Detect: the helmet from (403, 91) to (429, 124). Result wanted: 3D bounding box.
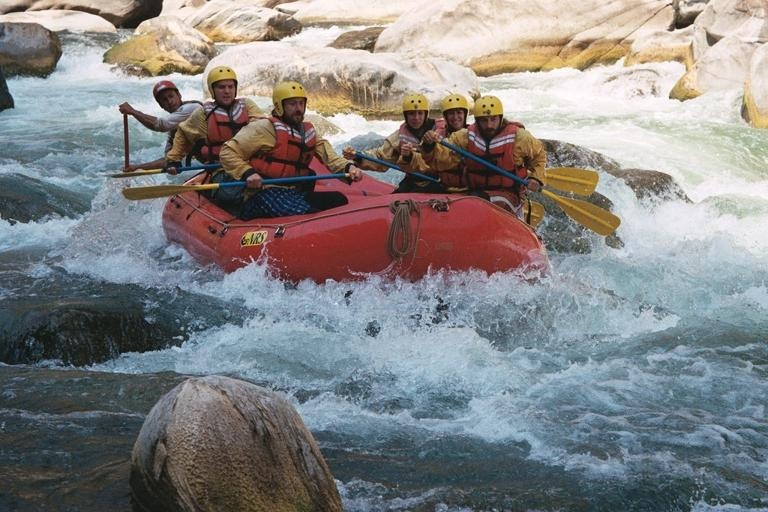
[{"bbox_3d":[0.431,-1.927,10.879,0.275,0.325,0.288,2,51,-6],"label":"helmet"}]

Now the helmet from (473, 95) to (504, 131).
[{"bbox_3d":[1.308,-1.801,10.367,0.400,0.454,0.431,-6,62,4],"label":"helmet"}]

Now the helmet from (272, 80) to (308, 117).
[{"bbox_3d":[-1.222,-1.995,10.571,0.483,0.446,0.510,-6,19,-23],"label":"helmet"}]

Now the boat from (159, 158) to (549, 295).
[{"bbox_3d":[-0.594,-0.271,10.396,3.511,0.912,1.925,6,12,30],"label":"boat"}]
